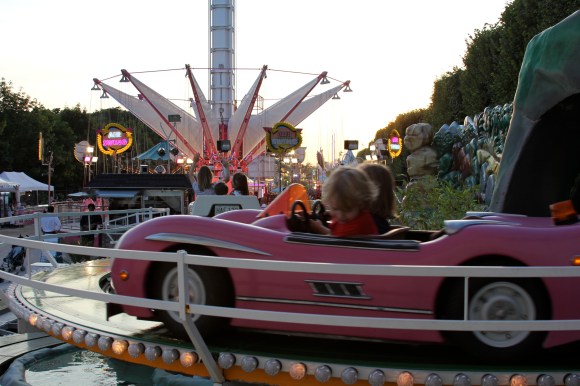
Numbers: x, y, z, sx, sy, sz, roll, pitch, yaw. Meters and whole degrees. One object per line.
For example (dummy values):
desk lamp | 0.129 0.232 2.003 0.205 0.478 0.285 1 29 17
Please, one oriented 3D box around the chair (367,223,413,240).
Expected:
chair | 0.903 0.350 4.387 0.228 0.159 0.206 0 -8 3
